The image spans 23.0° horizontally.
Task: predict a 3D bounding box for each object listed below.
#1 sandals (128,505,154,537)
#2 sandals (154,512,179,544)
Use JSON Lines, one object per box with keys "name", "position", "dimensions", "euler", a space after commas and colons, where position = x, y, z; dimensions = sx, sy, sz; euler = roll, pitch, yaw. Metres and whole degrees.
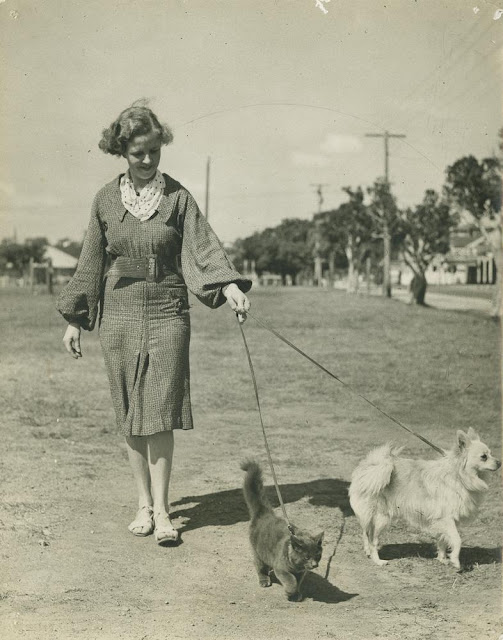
{"name": "sandals", "position": [-0.538, 0.983, 6.011], "dimensions": [0.095, 0.118, 0.276], "euler": [0, -10, -5]}
{"name": "sandals", "position": [-0.410, 0.996, 5.922], "dimensions": [0.121, 0.147, 0.226], "euler": [-1, 10, -4]}
